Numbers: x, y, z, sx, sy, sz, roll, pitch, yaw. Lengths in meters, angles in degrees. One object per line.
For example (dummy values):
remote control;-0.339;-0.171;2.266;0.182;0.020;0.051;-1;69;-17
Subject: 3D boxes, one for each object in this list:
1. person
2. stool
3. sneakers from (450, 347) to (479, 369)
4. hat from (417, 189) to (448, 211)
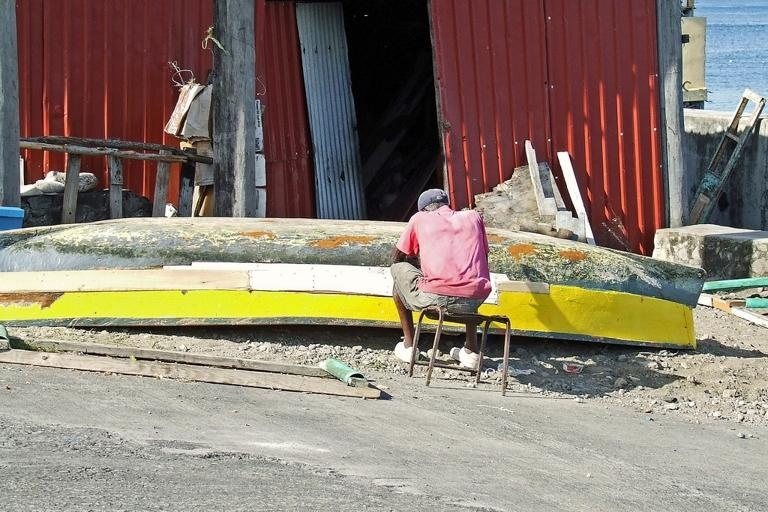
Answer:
person;0.529;0.215;10.970;0.951;1.687;0.479;6;4;34
stool;0.739;0.873;10.920;0.853;0.721;0.663;10;-3;-25
sneakers;0.796;0.982;11.228;0.128;0.129;0.339;-1;11;-29
hat;0.478;-0.527;11.048;0.282;0.140;0.192;0;5;23
